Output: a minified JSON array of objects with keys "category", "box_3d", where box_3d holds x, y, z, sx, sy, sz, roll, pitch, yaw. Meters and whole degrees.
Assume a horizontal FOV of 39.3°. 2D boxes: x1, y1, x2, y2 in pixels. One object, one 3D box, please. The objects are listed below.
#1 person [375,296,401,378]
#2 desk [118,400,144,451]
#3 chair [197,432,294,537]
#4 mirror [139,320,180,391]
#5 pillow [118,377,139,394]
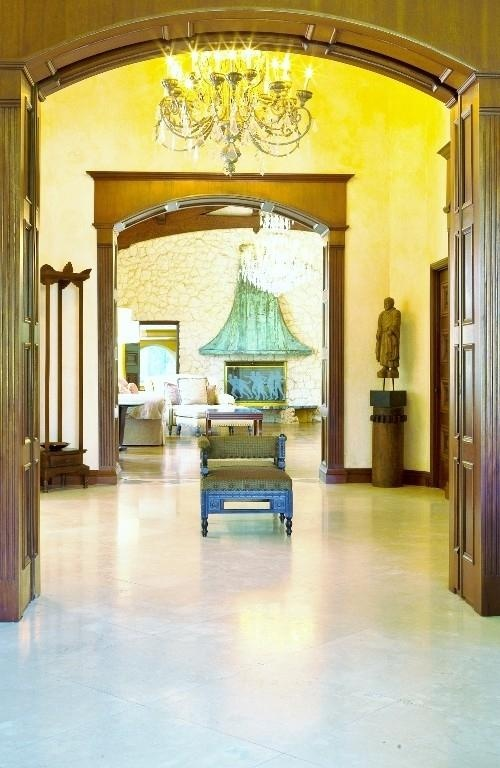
[{"category":"person","box_3d":[1.502,-0.502,7.677,0.291,0.871,0.322,0,-2,19]},{"category":"desk","box_3d":[-2.017,0.666,11.040,0.561,0.674,0.621,0,-1,5]},{"category":"chair","box_3d":[-0.060,0.781,5.714,0.708,0.732,1.196,1,-1,-4]},{"category":"mirror","box_3d":[-2.061,-0.615,15.647,1.031,0.151,2.178,1,-38,-4]},{"category":"pillow","box_3d":[-2.248,-0.008,12.862,0.346,0.221,0.480,13,-1,-37]}]
